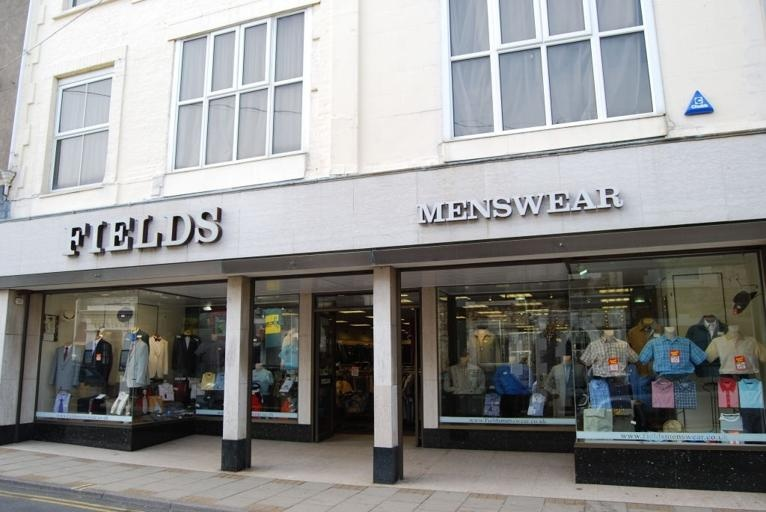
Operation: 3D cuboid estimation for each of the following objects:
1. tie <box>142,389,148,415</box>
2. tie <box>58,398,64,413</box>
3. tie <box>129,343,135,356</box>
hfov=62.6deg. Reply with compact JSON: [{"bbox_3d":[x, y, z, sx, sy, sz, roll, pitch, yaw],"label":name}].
[{"bbox_3d":[-6.022,3.691,15.941,0.087,0.605,0.230,-1,-2,11],"label":"tie"},{"bbox_3d":[-8.273,3.866,16.199,0.231,0.314,0.075,-2,-2,23],"label":"tie"},{"bbox_3d":[-6.404,2.355,16.052,0.143,0.318,0.042,0,-2,-17],"label":"tie"}]
